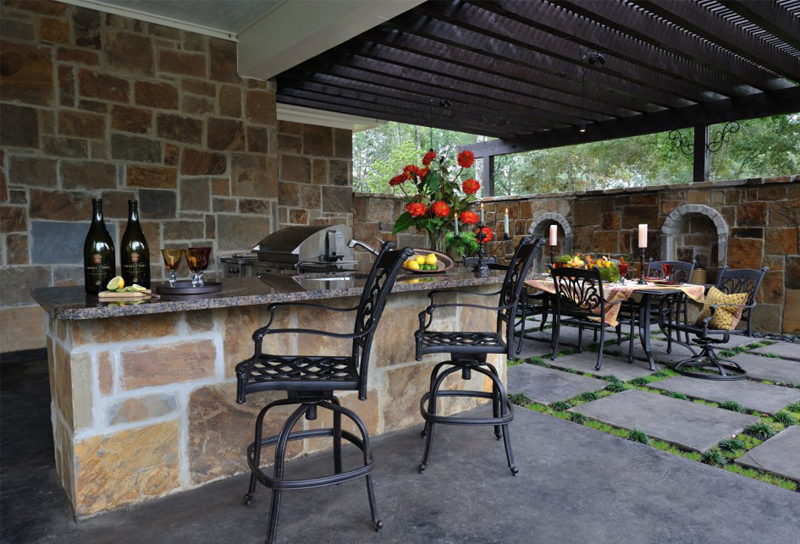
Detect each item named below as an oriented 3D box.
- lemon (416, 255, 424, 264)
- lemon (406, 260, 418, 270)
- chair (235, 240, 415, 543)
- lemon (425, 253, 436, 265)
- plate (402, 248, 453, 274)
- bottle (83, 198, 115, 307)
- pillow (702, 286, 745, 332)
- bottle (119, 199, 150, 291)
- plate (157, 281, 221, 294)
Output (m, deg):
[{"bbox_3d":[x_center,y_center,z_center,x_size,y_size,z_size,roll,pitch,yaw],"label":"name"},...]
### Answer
[{"bbox_3d":[0.136,-0.082,3.678,0.061,0.057,0.054,-1,4,-13],"label":"lemon"},{"bbox_3d":[0.088,-0.046,3.697,0.062,0.057,0.080,-29,47,-36],"label":"lemon"},{"bbox_3d":[-0.431,0.569,2.758,0.870,1.467,0.865,-2,7,-16],"label":"chair"},{"bbox_3d":[0.218,-0.098,3.740,0.089,0.091,0.091,-7,9,-42],"label":"lemon"},{"bbox_3d":[0.220,-0.075,3.745,0.261,0.058,0.240,-6,11,-35],"label":"plate"},{"bbox_3d":[-1.632,-0.139,2.737,0.141,0.510,0.143,0,7,0],"label":"bottle"},{"bbox_3d":[2.979,0.336,4.688,0.380,0.369,0.281,-5,8,-42],"label":"pillow"},{"bbox_3d":[-1.460,-0.155,2.783,0.133,0.477,0.311,-3,7,-27],"label":"bottle"},{"bbox_3d":[-1.128,0.091,2.725,0.315,0.050,0.216,-2,5,-32],"label":"plate"}]
